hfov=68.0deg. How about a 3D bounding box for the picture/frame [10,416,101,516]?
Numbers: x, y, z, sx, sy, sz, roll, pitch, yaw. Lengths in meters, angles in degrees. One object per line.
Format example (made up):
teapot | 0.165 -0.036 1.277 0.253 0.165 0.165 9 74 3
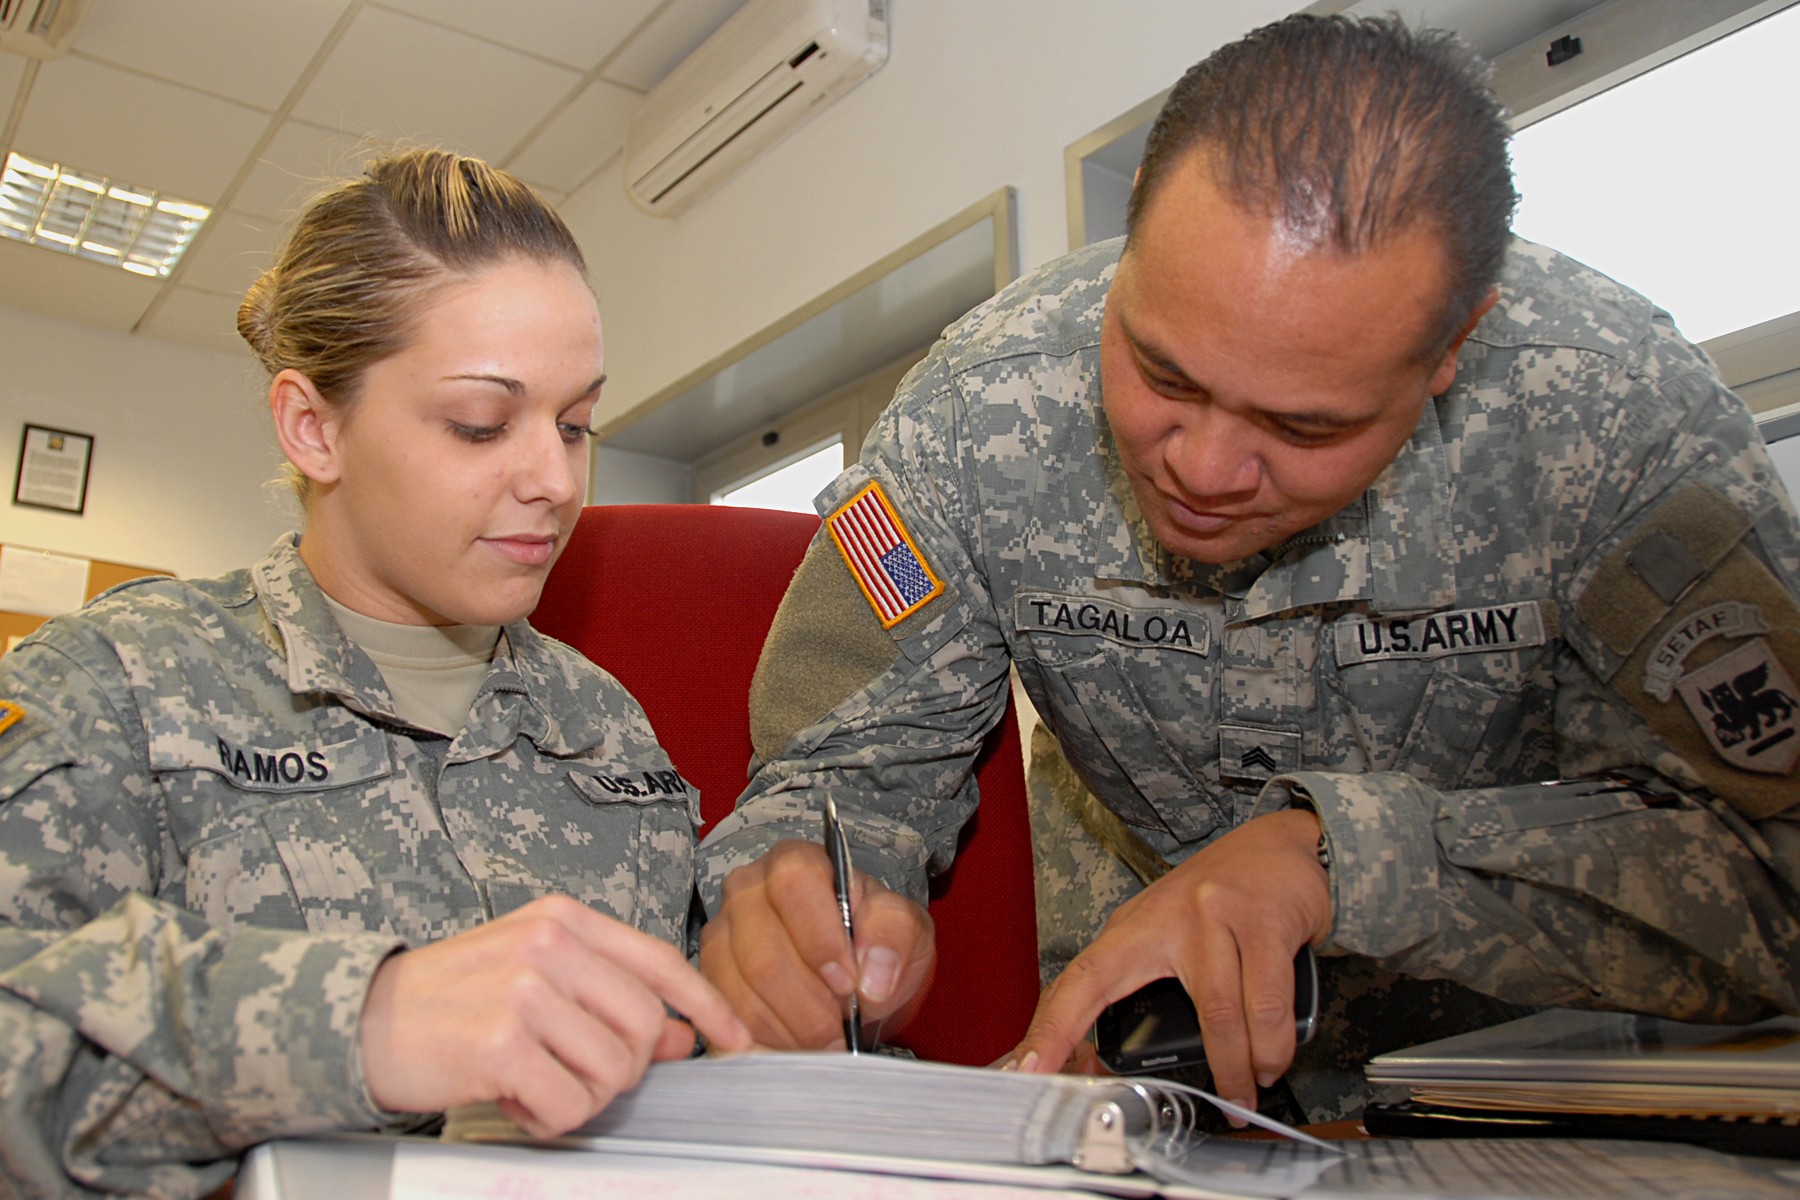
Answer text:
picture/frame | -3.035 -0.477 4.827 0.328 0.420 0.044 14 -28 -33
